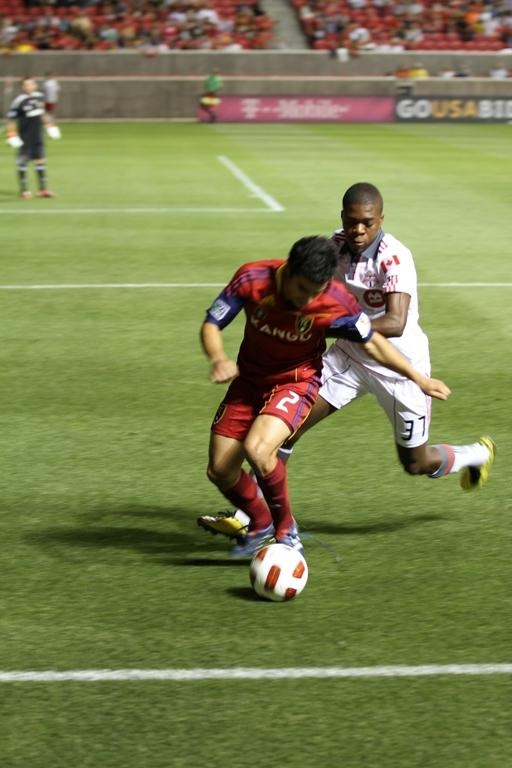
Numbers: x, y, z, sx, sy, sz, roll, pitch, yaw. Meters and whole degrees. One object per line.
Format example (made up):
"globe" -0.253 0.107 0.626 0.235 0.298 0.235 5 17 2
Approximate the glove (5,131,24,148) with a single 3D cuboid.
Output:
"glove" -4.464 -4.538 14.279 0.228 0.225 0.436 0 10 -6

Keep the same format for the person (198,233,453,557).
"person" 0.124 0.052 2.918 0.566 1.200 0.661 10 15 35

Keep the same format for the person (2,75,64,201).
"person" -4.286 -4.649 14.548 0.766 2.317 0.955 -2 13 -15

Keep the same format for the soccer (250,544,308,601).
"soccer" 0.079 0.694 2.842 0.239 0.181 0.205 4 11 -1

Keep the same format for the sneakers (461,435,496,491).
"sneakers" 1.115 0.382 3.893 0.122 0.145 0.329 2 48 44
